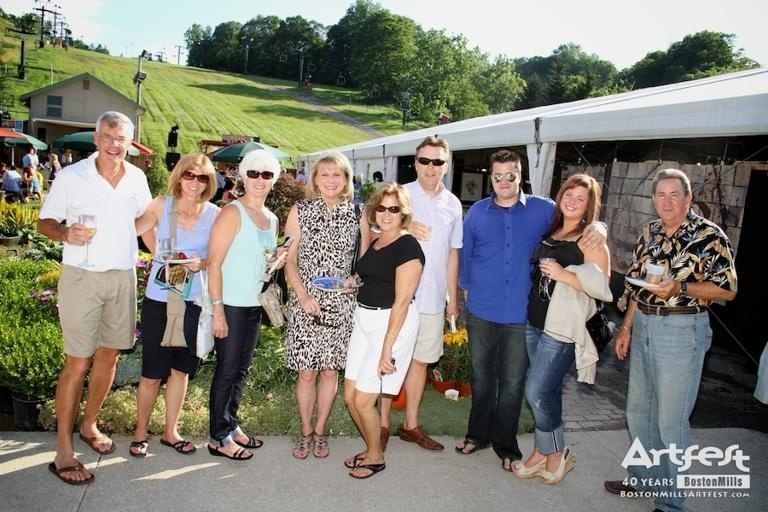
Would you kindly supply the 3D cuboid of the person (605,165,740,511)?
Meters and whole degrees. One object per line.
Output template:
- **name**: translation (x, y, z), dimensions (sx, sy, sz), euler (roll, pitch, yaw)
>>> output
- **person**: translation (2.678, 0.558, 4.759), dimensions (0.937, 2.722, 0.637), euler (4, 7, 33)

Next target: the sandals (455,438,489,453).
- **sandals**: translation (0.986, 2.067, 5.626), dimensions (0.390, 0.101, 0.137), euler (5, -1, -25)

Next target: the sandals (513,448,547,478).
- **sandals**: translation (1.523, 2.157, 5.388), dimensions (0.410, 0.269, 0.186), euler (0, -1, -11)

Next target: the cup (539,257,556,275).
- **cup**: translation (1.579, 0.095, 4.896), dimensions (0.152, 0.124, 0.146), euler (2, -3, 0)

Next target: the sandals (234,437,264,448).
- **sandals**: translation (-1.420, 1.951, 5.382), dimensions (0.271, 0.072, 0.105), euler (7, 28, -36)

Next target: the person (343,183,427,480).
- **person**: translation (-0.002, 0.732, 5.047), dimensions (0.766, 2.903, 0.467), euler (1, 6, 6)

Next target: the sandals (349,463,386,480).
- **sandals**: translation (-0.163, 2.121, 5.119), dimensions (0.292, 0.067, 0.133), euler (0, 13, -23)

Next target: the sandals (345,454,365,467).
- **sandals**: translation (-0.290, 2.071, 5.226), dimensions (0.097, 0.055, 0.236), euler (7, 6, 44)

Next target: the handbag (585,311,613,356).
- **handbag**: translation (2.154, 0.766, 5.072), dimensions (0.139, 0.405, 0.306), euler (-10, 17, 47)

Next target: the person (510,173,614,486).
- **person**: translation (1.788, 0.735, 5.145), dimensions (0.841, 3.100, 0.495), euler (2, 6, 15)

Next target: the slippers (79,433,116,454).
- **slippers**: translation (-2.877, 1.849, 5.171), dimensions (0.357, 0.092, 0.153), euler (20, 16, 23)

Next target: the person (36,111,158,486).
- **person**: translation (-2.764, 0.334, 4.933), dimensions (0.910, 3.411, 0.561), euler (-3, 7, -35)

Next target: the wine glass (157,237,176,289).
- **wine glass**: translation (-2.100, 0.059, 4.899), dimensions (0.199, 0.456, 0.111), euler (5, 7, 36)

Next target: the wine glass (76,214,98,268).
- **wine glass**: translation (-2.756, -0.160, 4.776), dimensions (0.129, 0.465, 0.194), euler (-2, 6, -30)

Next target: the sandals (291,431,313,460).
- **sandals**: translation (-0.848, 1.963, 5.275), dimensions (0.129, 0.118, 0.303), euler (3, -1, 2)

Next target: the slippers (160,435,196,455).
- **slippers**: translation (-2.108, 1.905, 5.264), dimensions (0.307, 0.080, 0.143), euler (8, 3, 25)

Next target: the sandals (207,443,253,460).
- **sandals**: translation (-1.562, 1.951, 5.206), dimensions (0.427, 0.110, 0.168), euler (1, 3, 4)

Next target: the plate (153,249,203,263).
- **plate**: translation (-1.961, 0.002, 4.887), dimensions (0.265, 0.081, 0.202), euler (-13, 15, -33)

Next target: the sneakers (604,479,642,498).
- **sneakers**: translation (2.386, 2.289, 5.098), dimensions (0.252, 0.090, 0.140), euler (3, 5, 19)

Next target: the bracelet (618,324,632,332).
- **bracelet**: translation (2.468, 0.734, 5.251), dimensions (0.167, 0.054, 0.164), euler (1, -6, 4)

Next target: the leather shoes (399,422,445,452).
- **leather shoes**: translation (0.415, 2.009, 5.775), dimensions (0.571, 0.223, 0.191), euler (13, -3, 20)

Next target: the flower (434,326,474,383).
- **flower**: translation (0.897, 1.346, 7.004), dimensions (0.731, 0.506, 0.703), euler (-3, 1, 0)

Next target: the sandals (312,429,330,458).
- **sandals**: translation (-0.666, 1.966, 5.379), dimensions (0.130, 0.116, 0.279), euler (0, 12, -8)

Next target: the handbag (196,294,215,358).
- **handbag**: translation (-1.741, 0.672, 5.004), dimensions (0.184, 0.618, 0.183), euler (-2, 6, -26)
